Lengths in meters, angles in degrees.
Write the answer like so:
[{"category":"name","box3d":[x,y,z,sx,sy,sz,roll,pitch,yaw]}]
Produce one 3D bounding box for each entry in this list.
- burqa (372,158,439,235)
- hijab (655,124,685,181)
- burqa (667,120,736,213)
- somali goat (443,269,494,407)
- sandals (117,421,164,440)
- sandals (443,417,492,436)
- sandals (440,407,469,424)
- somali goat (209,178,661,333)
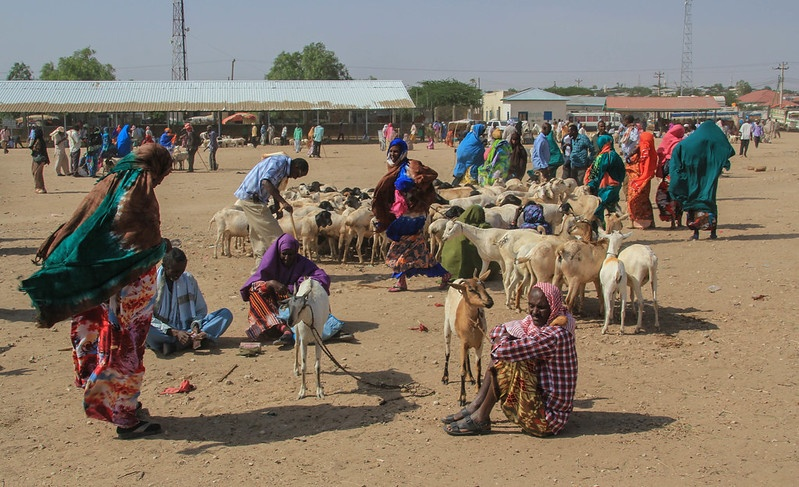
[{"category":"burqa","box3d":[0.081,-0.897,14.969,0.704,1.539,0.560,-1,1,-42]},{"category":"hijab","box3d":[6.454,-2.166,20.182,0.624,1.433,0.473,5,42,17]},{"category":"burqa","box3d":[6.341,-1.534,18.124,1.394,2.072,0.624,1,4,-2]},{"category":"somali goat","box3d":[1.260,1.287,11.920,0.788,1.740,1.082,1,-1,-6]},{"category":"sandals","box3d":[-3.431,2.468,11.362,0.616,0.270,0.213,-2,5,-13]},{"category":"sandals","box3d":[0.904,2.383,11.195,0.441,0.141,0.276,1,-2,3]},{"category":"sandals","box3d":[0.709,2.293,11.279,0.427,0.106,0.154,-11,16,-7]},{"category":"somali goat","box3d":[0.526,0.270,14.932,9.807,2.742,3.062,-2,-2,2]}]
